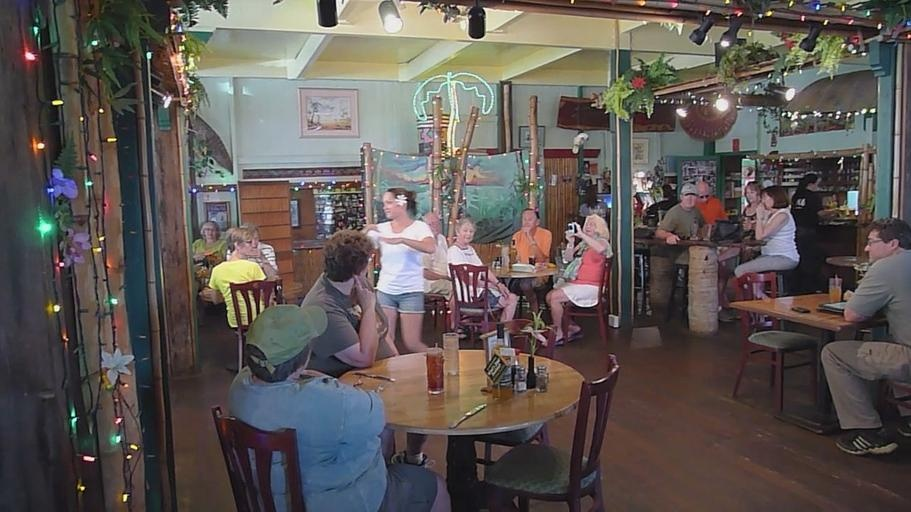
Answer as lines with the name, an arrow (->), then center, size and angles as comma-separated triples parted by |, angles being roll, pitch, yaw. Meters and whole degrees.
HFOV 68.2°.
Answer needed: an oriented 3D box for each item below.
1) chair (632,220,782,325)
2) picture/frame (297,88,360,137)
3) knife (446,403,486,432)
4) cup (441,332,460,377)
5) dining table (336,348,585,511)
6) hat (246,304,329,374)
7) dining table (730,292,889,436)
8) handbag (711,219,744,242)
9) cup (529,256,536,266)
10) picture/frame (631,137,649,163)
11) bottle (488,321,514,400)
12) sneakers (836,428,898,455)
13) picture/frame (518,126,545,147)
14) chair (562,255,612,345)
chair -> 3.507, 0.224, 9.387 | 0.480, 0.815, 1.553 | -4, 8, -25
picture/frame -> -2.576, -2.859, 13.359 | 1.139, 0.840, 0.082 | -4, 8, -24
knife -> 0.106, 1.123, 4.835 | 0.086, 0.052, 0.516 | 15, 20, 31
cup -> -0.041, 0.785, 5.324 | 0.150, 0.314, 0.142 | -2, -4, 0
dining table -> 0.088, 1.090, 5.090 | 1.463, 0.834, 1.395 | -10, 14, -41
hat -> -1.112, 0.510, 4.569 | 0.657, 0.312, 0.464 | 13, -10, 28
dining table -> 3.792, 0.970, 7.102 | 1.399, 1.195, 1.329 | -10, 12, -33
handbag -> 3.711, -0.341, 9.154 | 0.416, 0.278, 0.235 | 1, 8, 11
cup -> 1.102, 0.074, 9.497 | 0.110, 0.111, 0.111 | 1, 3, 0
picture/frame -> 4.599, -2.587, 16.676 | 0.498, 0.656, 0.177 | -7, 10, -36
bottle -> 0.336, 0.811, 5.168 | 0.216, 0.588, 0.175 | 6, -12, -6
sneakers -> 3.803, 1.695, 6.212 | 0.535, 0.216, 0.220 | 2, -4, 7
picture/frame -> 1.725, -2.671, 15.129 | 0.589, 0.488, 0.440 | -1, 8, 4
chair -> 1.747, 0.523, 9.028 | 0.765, 0.989, 0.768 | 7, 18, 41
